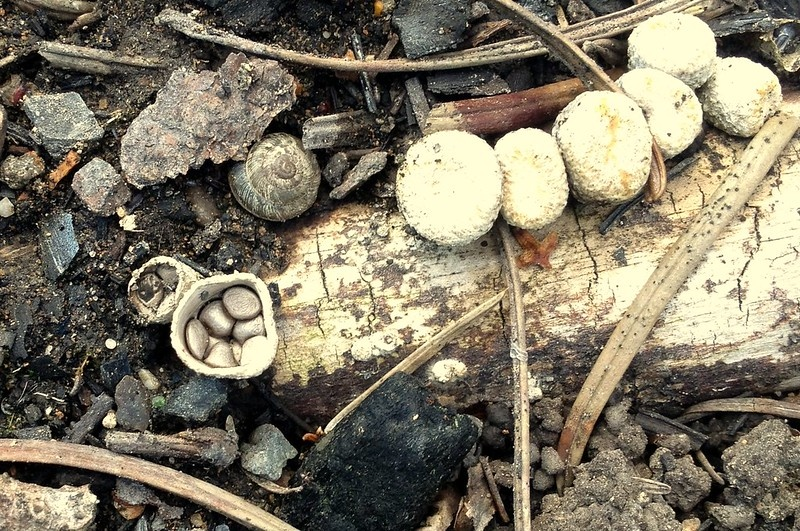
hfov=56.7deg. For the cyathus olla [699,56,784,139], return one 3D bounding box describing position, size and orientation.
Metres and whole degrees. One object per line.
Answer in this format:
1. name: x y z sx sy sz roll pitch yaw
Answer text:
1. cyathus olla: 3.190 -1.577 6.930 0.697 0.364 0.611 28 72 15
